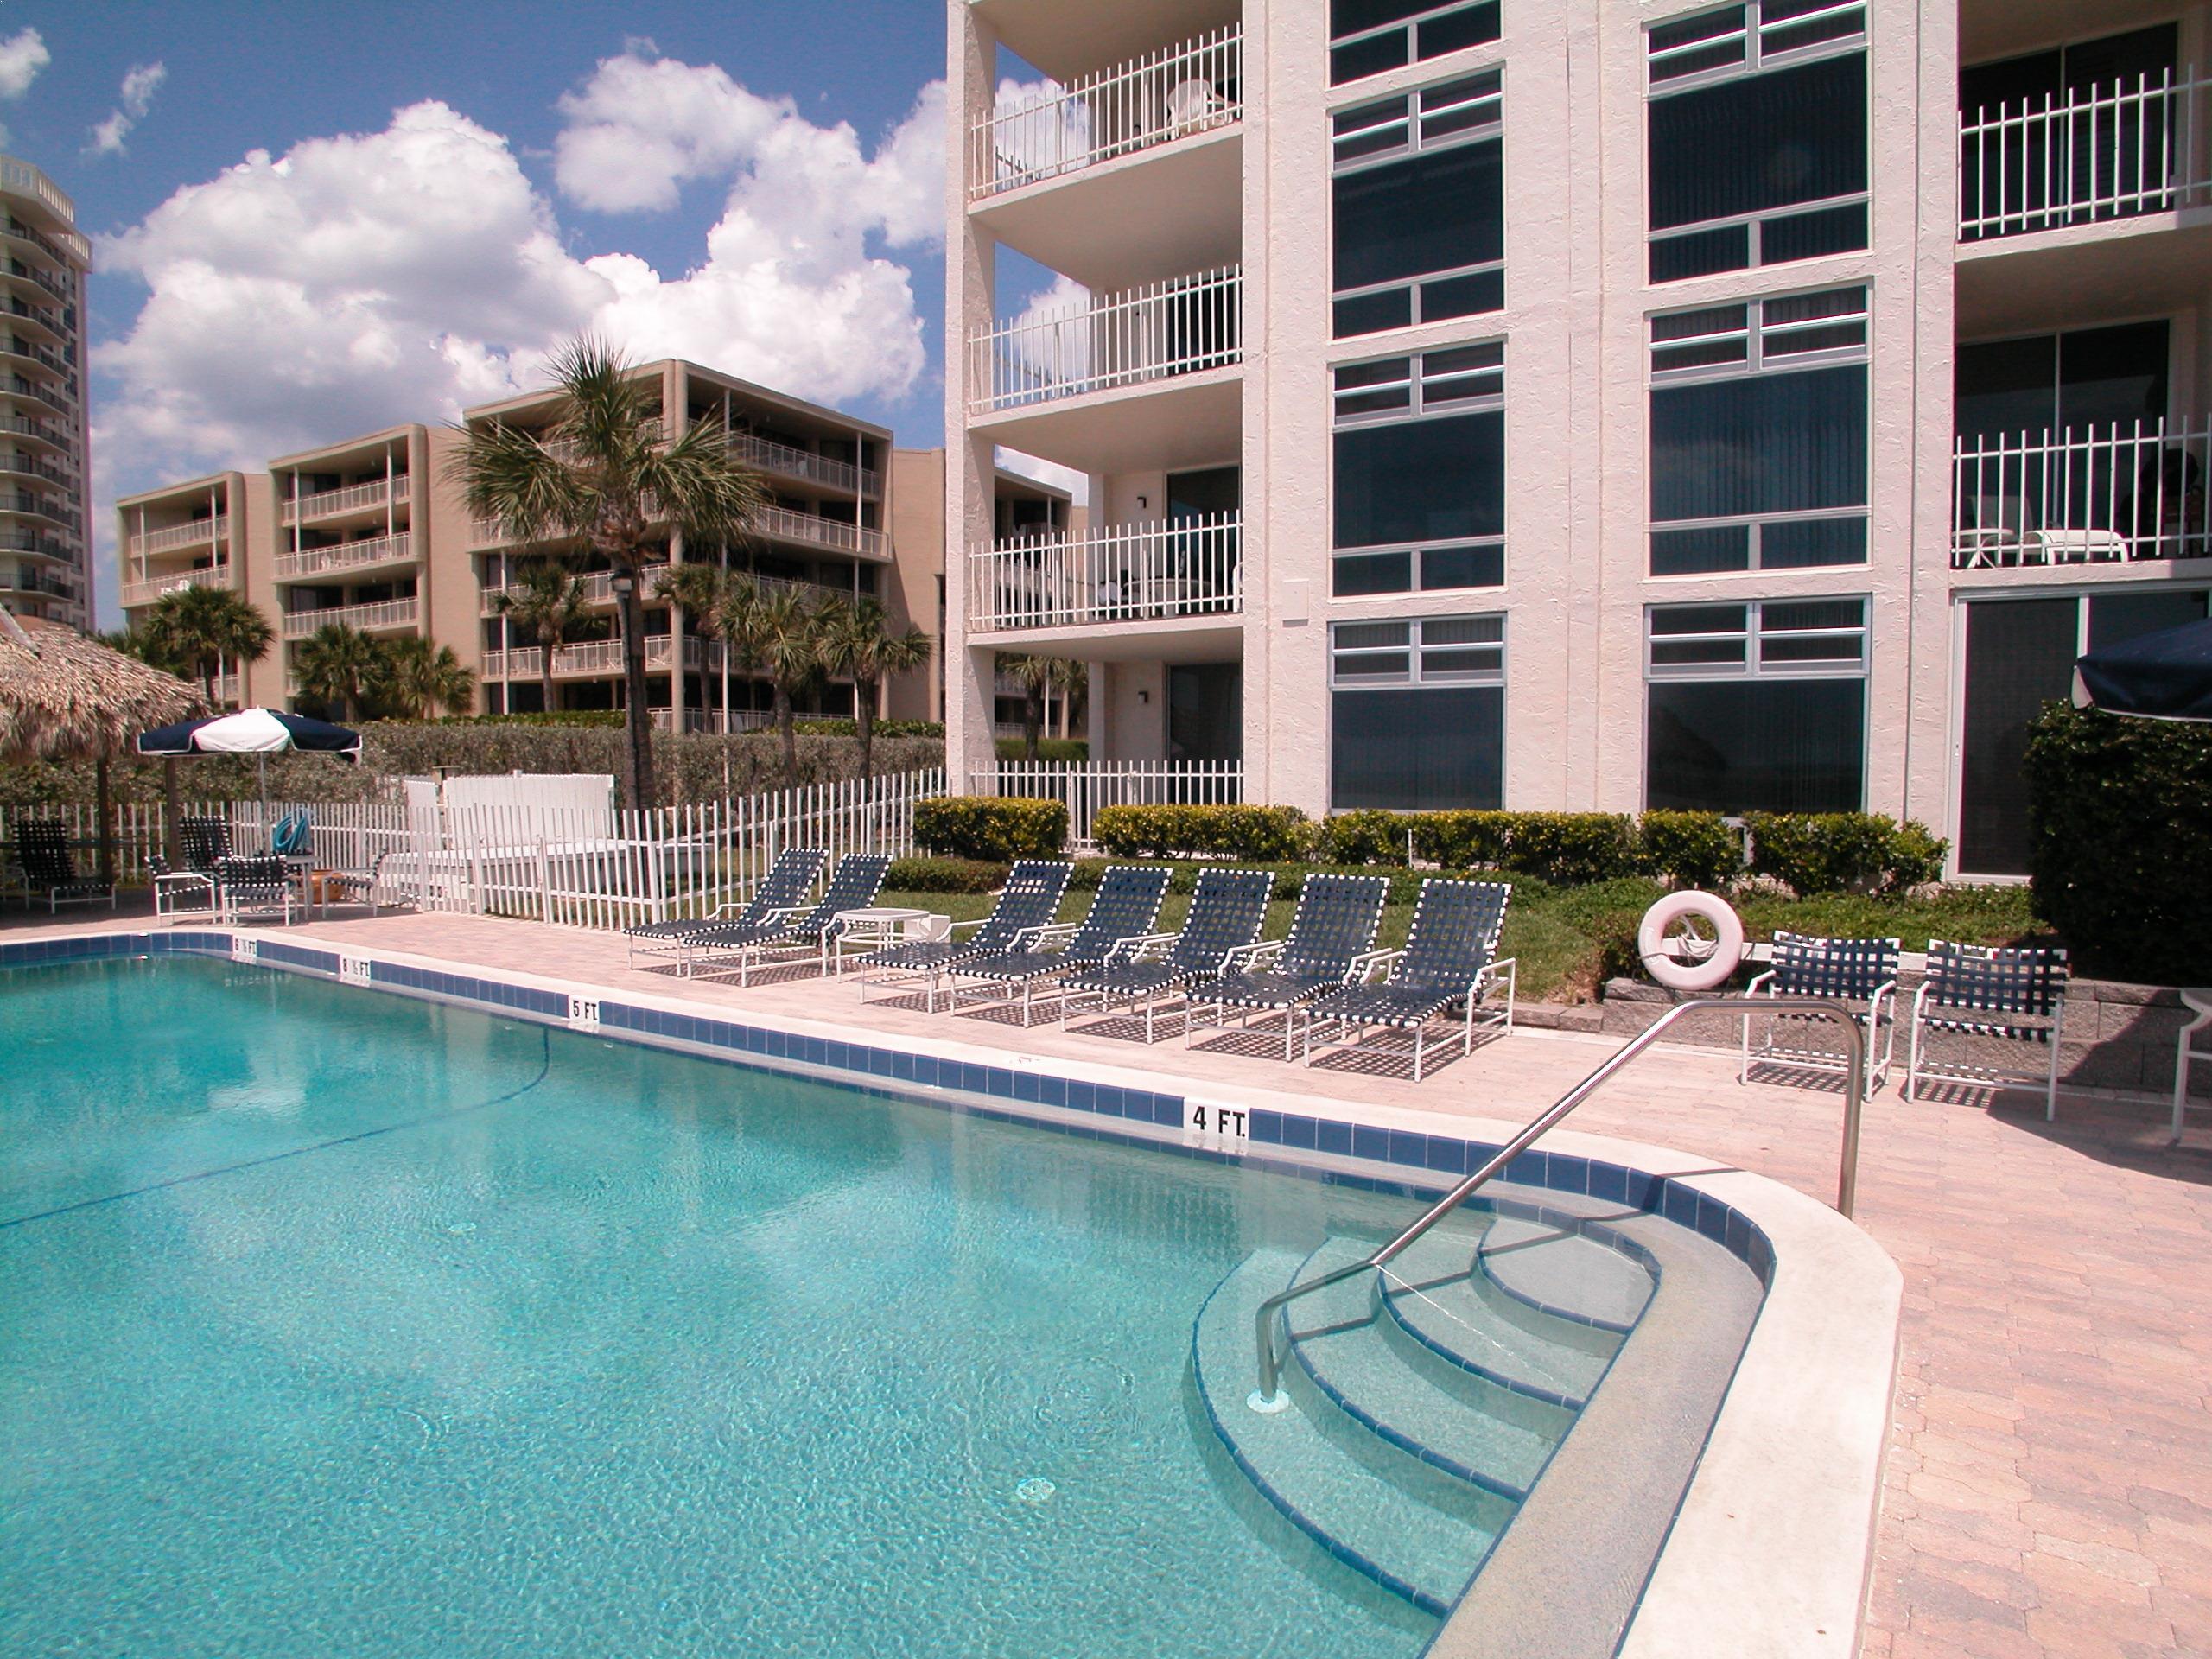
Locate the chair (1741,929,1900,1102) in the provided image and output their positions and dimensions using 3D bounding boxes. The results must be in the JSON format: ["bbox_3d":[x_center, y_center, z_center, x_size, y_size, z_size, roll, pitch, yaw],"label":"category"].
[{"bbox_3d":[5.537,1.379,12.695,1.121,1.041,1.228,0,1,24],"label":"chair"}]

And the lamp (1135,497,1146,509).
[{"bbox_3d":[0.585,-5.144,26.008,0.127,0.129,0.031,12,9,31],"label":"lamp"}]

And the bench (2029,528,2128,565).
[{"bbox_3d":[10.204,-2.942,17.160,0.940,0.451,0.576,0,0,36],"label":"bench"}]

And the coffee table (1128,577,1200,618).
[{"bbox_3d":[0.769,-3.162,22.298,1.226,0.554,0.307,0,1,37],"label":"coffee table"}]

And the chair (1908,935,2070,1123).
[{"bbox_3d":[6.432,1.439,11.983,0.938,1.308,0.871,2,-7,38],"label":"chair"}]

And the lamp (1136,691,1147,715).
[{"bbox_3d":[0.598,-1.987,25.807,0.152,0.314,0.290,5,-9,-41],"label":"lamp"}]

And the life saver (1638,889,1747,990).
[{"bbox_3d":[4.746,0.917,13.318,0.819,0.818,0.445,0,1,23],"label":"life saver"}]
